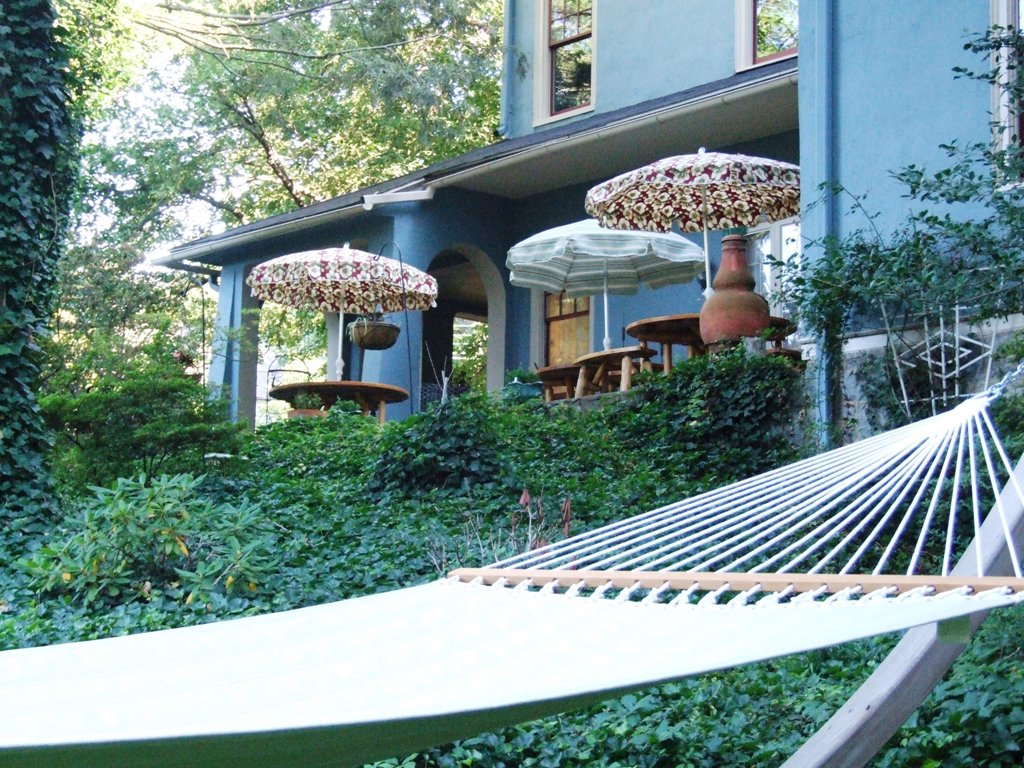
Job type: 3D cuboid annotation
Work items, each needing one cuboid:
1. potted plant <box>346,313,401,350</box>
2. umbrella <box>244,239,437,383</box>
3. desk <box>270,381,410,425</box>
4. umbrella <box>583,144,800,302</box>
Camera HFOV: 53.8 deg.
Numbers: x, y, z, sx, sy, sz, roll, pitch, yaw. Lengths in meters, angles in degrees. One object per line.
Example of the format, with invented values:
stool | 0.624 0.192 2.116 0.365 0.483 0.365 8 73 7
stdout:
potted plant | -1.629 -0.599 11.874 0.469 0.287 0.501 1 -10 -4
umbrella | -1.889 -0.825 11.342 1.272 1.050 1.230 6 -8 -31
desk | -1.959 0.199 11.652 1.533 0.601 1.039 -8 7 -6
umbrella | 1.665 -1.648 9.154 1.570 1.066 1.622 -4 -4 11
